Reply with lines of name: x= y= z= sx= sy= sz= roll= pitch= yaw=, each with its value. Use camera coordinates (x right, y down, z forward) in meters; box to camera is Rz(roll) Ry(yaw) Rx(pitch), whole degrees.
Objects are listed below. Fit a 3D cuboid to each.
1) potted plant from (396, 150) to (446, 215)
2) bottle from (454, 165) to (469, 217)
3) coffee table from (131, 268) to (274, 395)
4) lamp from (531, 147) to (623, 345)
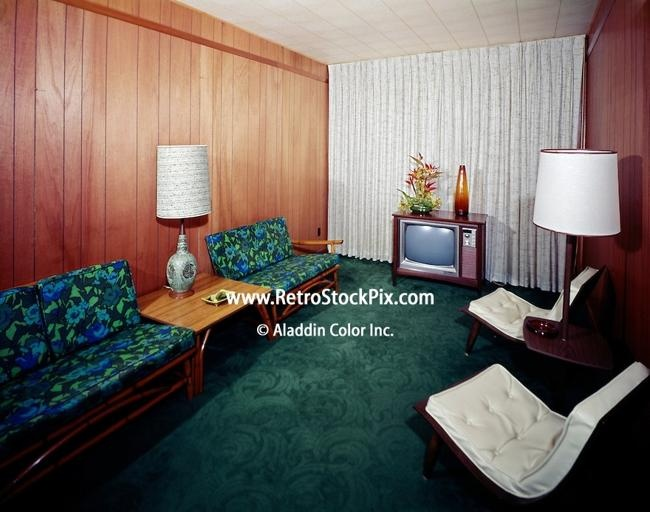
potted plant: x=1.170 y=-0.878 z=5.052 sx=0.497 sy=0.685 sz=0.845 roll=3 pitch=16 yaw=10
bottle: x=1.527 y=-0.721 z=4.638 sx=0.148 sy=0.536 sz=0.244 roll=3 pitch=15 yaw=10
coffee table: x=-1.038 y=0.528 z=3.296 sx=0.745 sy=0.401 sz=0.777 roll=12 pitch=19 yaw=23
lamp: x=1.326 y=-0.262 z=2.296 sx=0.436 sy=1.107 sz=0.541 roll=3 pitch=17 yaw=31
